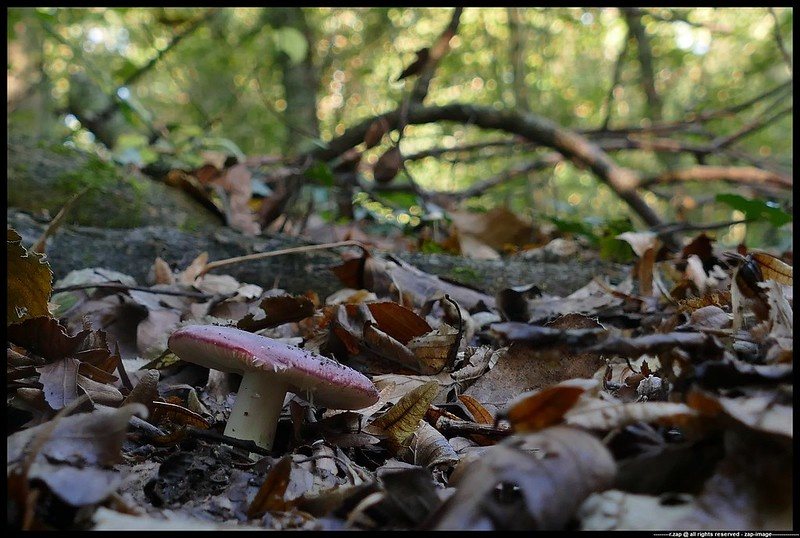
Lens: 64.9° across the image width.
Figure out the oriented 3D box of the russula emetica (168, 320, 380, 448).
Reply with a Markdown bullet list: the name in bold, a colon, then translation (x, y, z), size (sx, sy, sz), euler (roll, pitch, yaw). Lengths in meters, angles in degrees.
- **russula emetica**: translation (-0.431, 0.396, 2.080), size (0.681, 0.403, 0.298), euler (9, -2, -17)
